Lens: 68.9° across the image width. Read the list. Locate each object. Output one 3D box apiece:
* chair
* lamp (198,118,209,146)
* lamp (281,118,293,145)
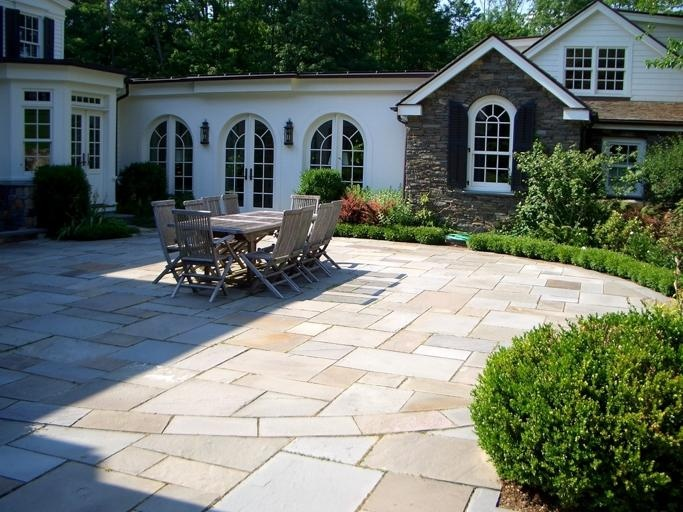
[{"bbox_3d":[-1.532,-0.183,8.376,2.850,1.400,2.154,-6,13,-34],"label":"chair"},{"bbox_3d":[-4.789,-4.227,17.258,0.382,0.856,0.232,2,12,4],"label":"lamp"},{"bbox_3d":[-1.778,-3.992,16.251,0.364,0.827,0.208,3,12,7],"label":"lamp"}]
